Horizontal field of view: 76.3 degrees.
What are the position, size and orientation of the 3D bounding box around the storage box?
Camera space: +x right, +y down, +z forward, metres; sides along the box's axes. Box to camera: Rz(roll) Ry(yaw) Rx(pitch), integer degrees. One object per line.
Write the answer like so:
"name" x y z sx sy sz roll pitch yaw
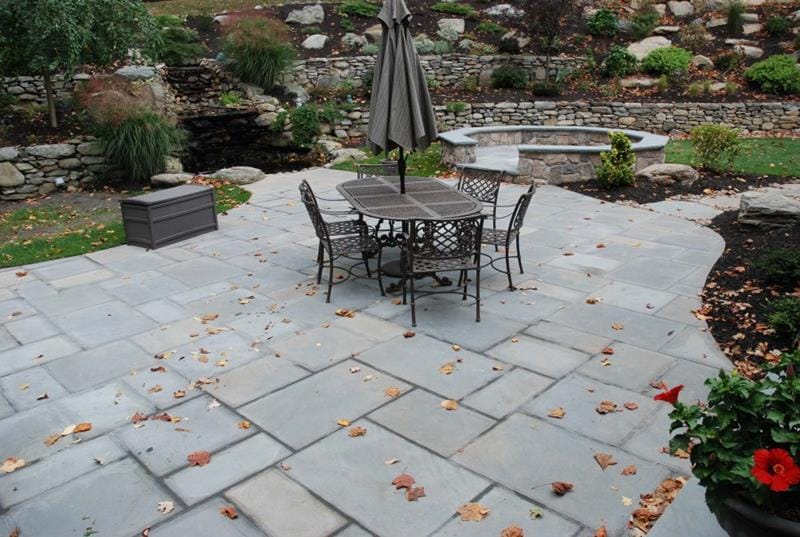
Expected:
"storage box" -3.462 -0.731 7.680 0.831 0.630 1.503 11 20 32
